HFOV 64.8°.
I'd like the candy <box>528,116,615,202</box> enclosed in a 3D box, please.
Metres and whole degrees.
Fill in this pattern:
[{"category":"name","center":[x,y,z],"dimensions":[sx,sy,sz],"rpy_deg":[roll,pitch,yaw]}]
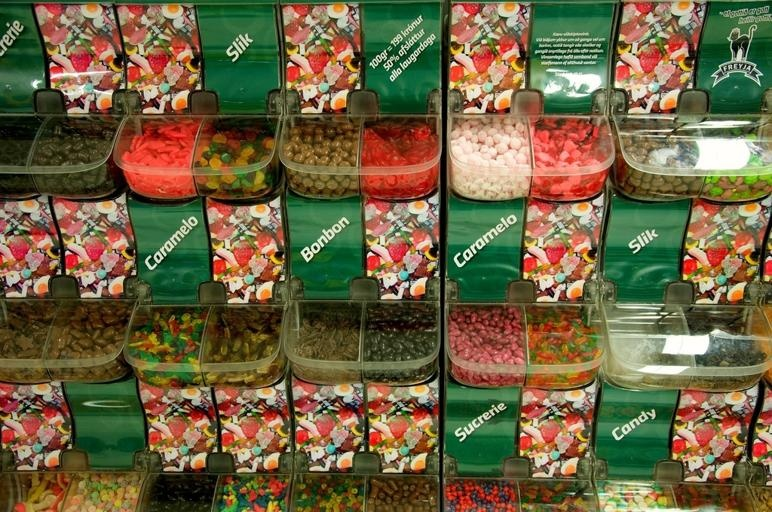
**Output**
[{"category":"candy","center":[1.007,-0.548,3.311],"dimensions":[0.401,0.190,0.497],"rpy_deg":[1,63,7]}]

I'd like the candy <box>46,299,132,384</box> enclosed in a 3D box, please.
[{"category":"candy","center":[-1.769,0.481,3.564],"dimensions":[0.414,0.197,0.530],"rpy_deg":[1,77,-6]}]

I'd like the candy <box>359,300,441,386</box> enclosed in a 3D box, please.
[{"category":"candy","center":[0.121,0.518,3.728],"dimensions":[0.507,0.310,0.483],"rpy_deg":[2,81,2]}]

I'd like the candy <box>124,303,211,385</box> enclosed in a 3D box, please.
[{"category":"candy","center":[-1.298,0.513,3.596],"dimensions":[0.394,0.246,0.507],"rpy_deg":[1,54,-3]}]

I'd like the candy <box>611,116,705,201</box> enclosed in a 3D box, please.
[{"category":"candy","center":[1.459,-0.578,3.262],"dimensions":[0.395,0.156,0.465],"rpy_deg":[0,74,2]}]

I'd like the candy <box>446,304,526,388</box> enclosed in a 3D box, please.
[{"category":"candy","center":[0.599,0.543,3.645],"dimensions":[0.462,0.349,0.403],"rpy_deg":[2,37,5]}]

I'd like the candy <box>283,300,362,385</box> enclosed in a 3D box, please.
[{"category":"candy","center":[-0.354,0.557,3.643],"dimensions":[0.447,0.456,0.397],"rpy_deg":[-2,37,1]}]

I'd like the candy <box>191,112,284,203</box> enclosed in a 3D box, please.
[{"category":"candy","center":[-0.824,-0.550,3.426],"dimensions":[0.463,0.376,0.365],"rpy_deg":[-4,37,-2]}]

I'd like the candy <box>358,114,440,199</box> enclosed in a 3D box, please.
[{"category":"candy","center":[0.077,-0.544,3.501],"dimensions":[0.398,0.173,0.479],"rpy_deg":[0,54,2]}]

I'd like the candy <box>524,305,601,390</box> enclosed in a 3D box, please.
[{"category":"candy","center":[1.045,0.536,3.604],"dimensions":[0.431,0.357,0.409],"rpy_deg":[1,37,5]}]

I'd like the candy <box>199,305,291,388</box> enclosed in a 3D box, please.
[{"category":"candy","center":[-0.853,0.505,3.489],"dimensions":[0.395,0.187,0.506],"rpy_deg":[-1,72,1]}]

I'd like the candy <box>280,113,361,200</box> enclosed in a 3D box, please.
[{"category":"candy","center":[-0.354,-0.529,3.424],"dimensions":[0.446,0.404,0.402],"rpy_deg":[-2,37,1]}]

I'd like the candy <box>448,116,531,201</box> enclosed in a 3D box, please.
[{"category":"candy","center":[0.580,-0.529,3.406],"dimensions":[0.451,0.406,0.397],"rpy_deg":[1,37,4]}]
